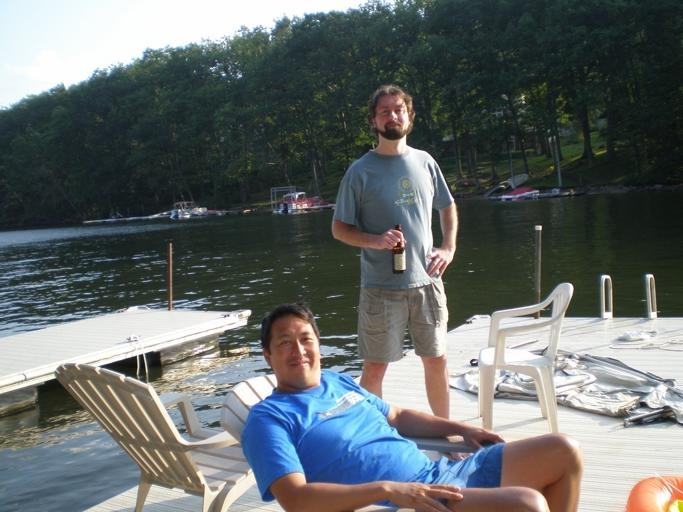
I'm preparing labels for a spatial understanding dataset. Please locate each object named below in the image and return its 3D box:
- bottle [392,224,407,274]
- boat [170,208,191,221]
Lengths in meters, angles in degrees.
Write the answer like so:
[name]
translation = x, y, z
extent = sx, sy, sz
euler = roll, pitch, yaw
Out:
[bottle]
translation = 0.441, 0.021, 5.063
extent = 0.119, 0.221, 0.123
euler = -5, 2, 0
[boat]
translation = -16.435, -4.283, 67.291
extent = 1.862, 1.186, 7.735
euler = -6, 2, -12
